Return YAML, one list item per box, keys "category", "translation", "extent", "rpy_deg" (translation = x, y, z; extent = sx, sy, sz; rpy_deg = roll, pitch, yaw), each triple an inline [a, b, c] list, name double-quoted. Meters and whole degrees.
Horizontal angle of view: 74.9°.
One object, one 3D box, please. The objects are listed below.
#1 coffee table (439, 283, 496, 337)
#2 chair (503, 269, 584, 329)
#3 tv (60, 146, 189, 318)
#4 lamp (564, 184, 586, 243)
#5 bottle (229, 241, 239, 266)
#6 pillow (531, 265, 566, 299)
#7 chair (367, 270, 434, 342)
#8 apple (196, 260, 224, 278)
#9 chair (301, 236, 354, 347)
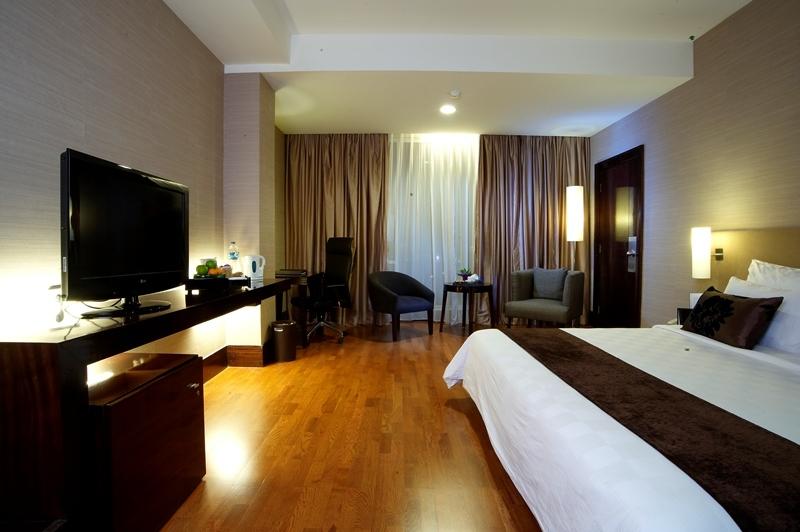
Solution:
- category: "coffee table"
  translation: [0.676, 0.485, 6.522]
  extent: [0.560, 0.518, 0.588]
  rpy_deg: [2, 5, -24]
- category: "chair"
  translation: [1.728, 0.382, 6.188]
  extent: [0.789, 0.728, 0.825]
  rpy_deg: [0, 3, -41]
- category: "tv"
  translation: [-1.787, -0.161, 3.478]
  extent: [0.300, 0.927, 1.001]
  rpy_deg: [1, 2, 17]
- category: "lamp"
  translation: [2.127, -0.606, 6.543]
  extent: [0.191, 0.618, 0.194]
  rpy_deg: [-2, 3, -14]
- category: "bottle"
  translation: [-1.508, -0.123, 4.749]
  extent: [0.076, 0.206, 0.386]
  rpy_deg: [-1, 4, -17]
- category: "pillow"
  translation: [1.763, 0.201, 6.223]
  extent: [0.331, 0.337, 0.120]
  rpy_deg: [2, -19, 40]
- category: "chair"
  translation: [-0.039, 0.428, 6.223]
  extent: [0.687, 0.744, 0.762]
  rpy_deg: [3, 4, 44]
- category: "apple"
  translation: [-1.471, 0.012, 4.052]
  extent: [0.208, 0.129, 0.131]
  rpy_deg: [-1, 4, -18]
- category: "chair"
  translation: [-0.893, 0.256, 6.066]
  extent: [0.665, 1.206, 0.676]
  rpy_deg: [6, 9, 31]
